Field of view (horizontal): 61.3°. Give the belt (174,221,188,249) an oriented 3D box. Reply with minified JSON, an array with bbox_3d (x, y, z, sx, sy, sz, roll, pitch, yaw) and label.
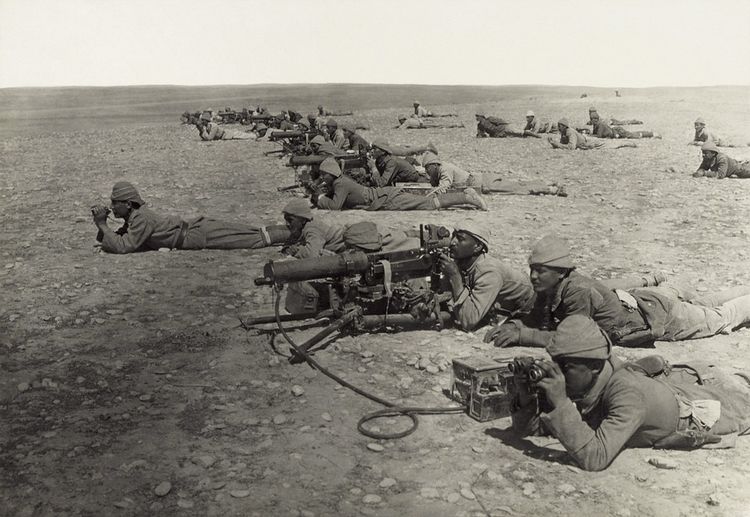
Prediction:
[{"bbox_3d":[-3.281,-0.381,10.913,0.125,0.392,0.301,21,-9,-12],"label":"belt"}]

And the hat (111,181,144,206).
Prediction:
[{"bbox_3d":[-4.198,-1.104,10.826,0.556,0.370,0.399,-3,5,-18],"label":"hat"}]

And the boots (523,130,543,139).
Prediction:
[{"bbox_3d":[6.296,-4.942,25.244,0.436,0.164,0.524,8,-8,25],"label":"boots"}]

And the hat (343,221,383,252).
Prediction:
[{"bbox_3d":[-0.171,-0.296,8.805,0.407,0.248,0.518,-1,5,-9],"label":"hat"}]

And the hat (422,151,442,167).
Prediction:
[{"bbox_3d":[1.240,-2.318,14.772,0.532,0.283,0.367,-1,10,25],"label":"hat"}]

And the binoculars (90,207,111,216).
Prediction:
[{"bbox_3d":[-4.623,-0.791,10.666,0.248,0.197,0.255,-11,21,-17],"label":"binoculars"}]

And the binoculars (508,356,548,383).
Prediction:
[{"bbox_3d":[1.531,1.117,6.313,0.271,0.085,0.256,3,6,-30],"label":"binoculars"}]

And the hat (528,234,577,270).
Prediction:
[{"bbox_3d":[2.153,-0.085,7.611,0.548,0.317,0.401,0,1,-32],"label":"hat"}]

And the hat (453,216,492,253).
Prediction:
[{"bbox_3d":[1.375,-0.280,8.886,0.458,0.372,0.417,-3,20,5],"label":"hat"}]

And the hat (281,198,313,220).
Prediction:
[{"bbox_3d":[-1.286,-0.789,10.342,0.600,0.262,0.777,10,1,-19],"label":"hat"}]
